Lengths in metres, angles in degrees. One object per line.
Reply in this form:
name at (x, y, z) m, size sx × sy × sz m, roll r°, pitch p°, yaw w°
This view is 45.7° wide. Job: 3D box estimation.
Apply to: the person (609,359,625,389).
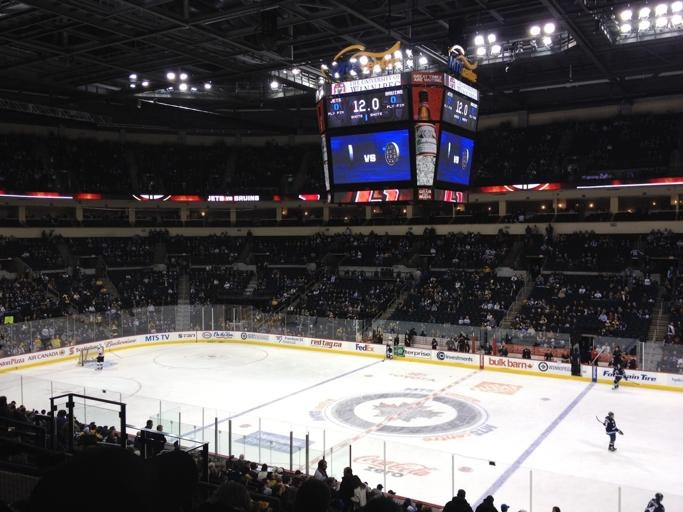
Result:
person at (14.534, 6.173, 42.369) m, size 0.548 × 1.457 × 1.193 m, roll 1°, pitch -1°, yaw 24°
